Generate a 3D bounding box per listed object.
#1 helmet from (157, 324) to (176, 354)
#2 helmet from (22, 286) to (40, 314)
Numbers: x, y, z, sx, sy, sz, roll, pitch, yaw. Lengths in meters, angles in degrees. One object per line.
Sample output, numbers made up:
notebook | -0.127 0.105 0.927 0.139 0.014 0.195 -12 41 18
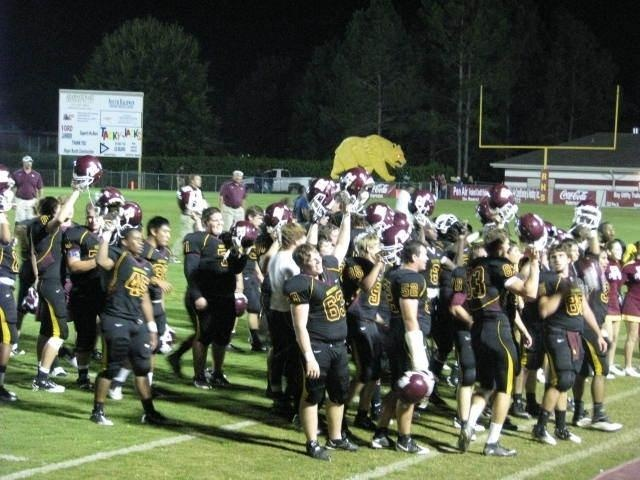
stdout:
helmet | -1.943 1.243 9.002 0.137 0.202 0.451 0 43 7
helmet | -3.518 0.761 8.760 0.106 0.389 0.261 4 21 -35
